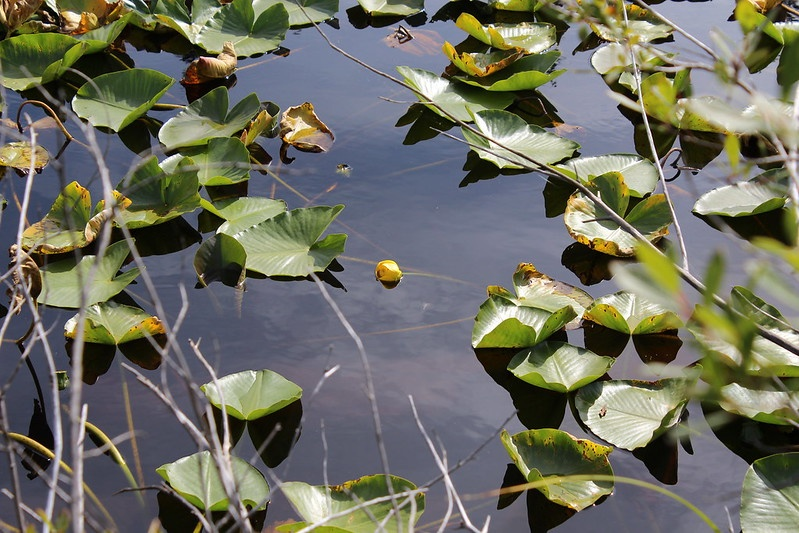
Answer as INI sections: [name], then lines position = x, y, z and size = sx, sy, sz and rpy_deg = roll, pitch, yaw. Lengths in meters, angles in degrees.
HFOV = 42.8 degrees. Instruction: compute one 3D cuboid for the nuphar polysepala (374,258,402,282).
[nuphar polysepala]
position = -0.034, 0.017, 3.628
size = 0.094, 0.072, 0.067
rpy_deg = 6, 34, -16
